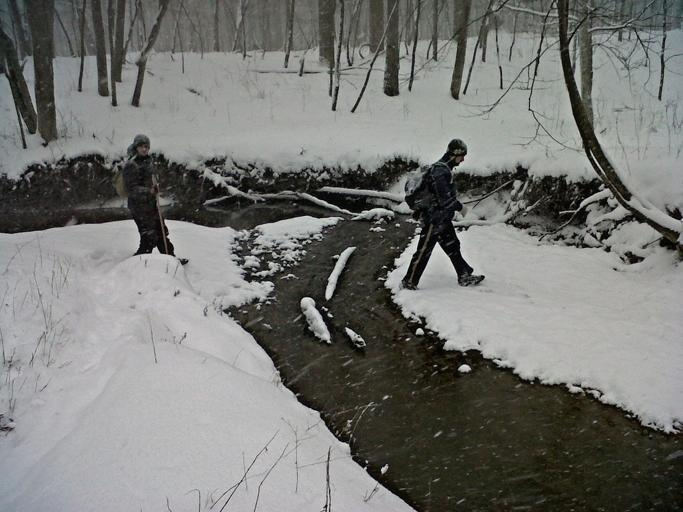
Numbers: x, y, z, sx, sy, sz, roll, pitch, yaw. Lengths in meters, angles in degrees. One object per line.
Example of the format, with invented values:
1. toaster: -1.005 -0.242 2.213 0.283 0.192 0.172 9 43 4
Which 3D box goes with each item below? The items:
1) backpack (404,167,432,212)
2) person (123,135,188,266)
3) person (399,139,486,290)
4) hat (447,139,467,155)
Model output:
1. backpack: 1.467 -1.265 12.037 0.455 0.836 0.467 3 20 6
2. person: -4.052 -1.194 13.166 0.870 2.594 0.763 -2 19 -8
3. person: 1.933 -0.781 12.230 1.403 2.927 0.774 2 19 4
4. hat: 2.224 -2.048 11.919 0.332 0.345 0.268 -6 21 23
